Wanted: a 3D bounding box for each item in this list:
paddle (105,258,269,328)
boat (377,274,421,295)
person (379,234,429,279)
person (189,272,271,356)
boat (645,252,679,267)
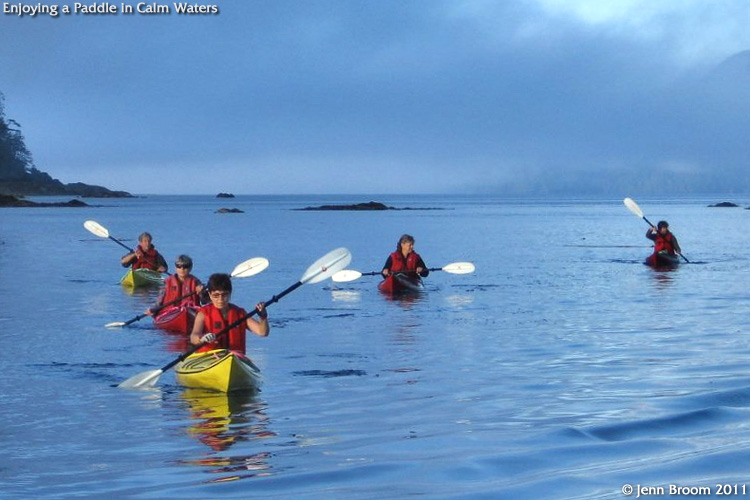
[{"bbox_3d":[-4.680,1.071,21.483,4.279,0.609,0.424,-17,19,-23],"label":"paddle"},{"bbox_3d":[0.682,0.989,24.921,1.135,0.486,0.979,-4,-2,-1],"label":"boat"},{"bbox_3d":[0.759,0.204,24.757,1.218,1.011,0.675,-5,-2,2],"label":"person"},{"bbox_3d":[-2.577,1.141,15.365,1.314,1.046,0.789,-4,-2,-6],"label":"person"},{"bbox_3d":[9.979,0.343,31.062,1.021,0.534,0.910,-6,-3,31],"label":"boat"}]
